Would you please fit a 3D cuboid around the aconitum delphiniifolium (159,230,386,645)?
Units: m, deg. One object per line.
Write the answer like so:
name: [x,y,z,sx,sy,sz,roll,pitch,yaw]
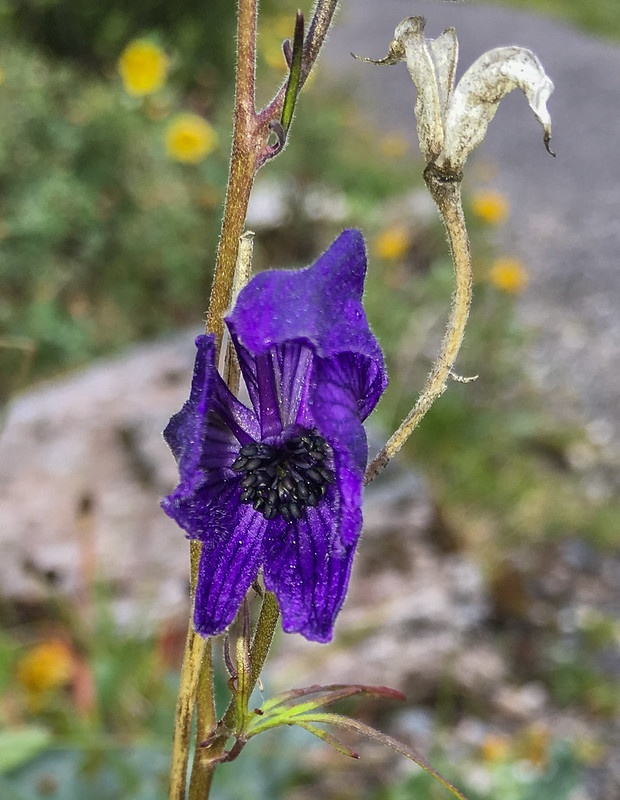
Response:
aconitum delphiniifolium: [-0.128,0.042,1.318,0.176,0.461,0.370,4,4,40]
